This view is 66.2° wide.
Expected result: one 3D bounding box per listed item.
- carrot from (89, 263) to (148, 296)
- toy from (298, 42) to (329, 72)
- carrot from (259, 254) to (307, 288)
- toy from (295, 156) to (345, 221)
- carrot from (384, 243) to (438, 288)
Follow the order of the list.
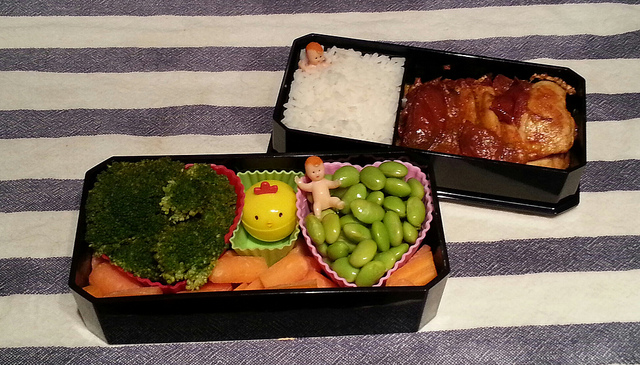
[{"bbox_3d":[-1.276,0.599,3.033,0.193,0.134,0.381,-33,18,-10],"label":"carrot"},{"bbox_3d":[-0.039,-0.924,3.602,0.265,0.184,0.137,-9,35,-5],"label":"toy"},{"bbox_3d":[-0.205,0.547,2.977,0.288,0.120,0.140,-24,45,-13],"label":"carrot"},{"bbox_3d":[-0.005,0.032,3.006,0.320,0.125,0.382,-15,76,-10],"label":"toy"},{"bbox_3d":[0.549,0.538,2.927,0.308,0.089,0.170,-27,71,-4],"label":"carrot"}]
